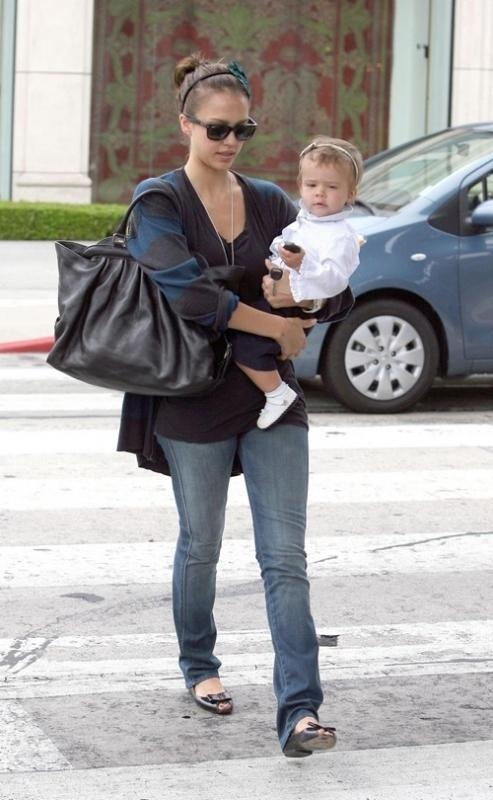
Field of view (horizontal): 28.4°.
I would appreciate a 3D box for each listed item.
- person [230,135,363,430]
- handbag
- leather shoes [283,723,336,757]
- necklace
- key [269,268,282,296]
[{"bbox_3d":[0.147,-0.306,2.517,0.245,0.743,0.332,7,15,22],"label":"person"},{"bbox_3d":[-0.273,-0.269,2.441,0.483,0.577,0.276,4,14,11],"label":"handbag"},{"bbox_3d":[0.143,0.819,2.332,0.070,0.038,0.144,16,-36,-33],"label":"leather shoes"},{"bbox_3d":[-0.071,-0.443,2.443,0.034,0.280,0.082,-27,1,40],"label":"necklace"},{"bbox_3d":[0.071,-0.300,2.427,0.038,0.068,0.034,10,16,32],"label":"key"}]
